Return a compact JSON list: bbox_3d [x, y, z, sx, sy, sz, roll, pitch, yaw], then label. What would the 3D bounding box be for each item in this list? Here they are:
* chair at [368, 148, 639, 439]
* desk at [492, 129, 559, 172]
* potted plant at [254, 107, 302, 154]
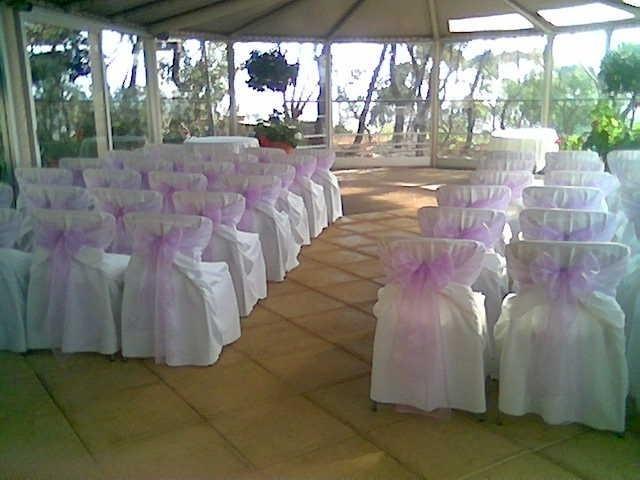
[{"bbox_3d":[1.097,0.412,2.966,1.462,1.231,0.764,6,14,11],"label":"chair"},{"bbox_3d":[3.556,-1.676,8.557,1.052,0.775,1.462,3,3,0],"label":"desk"},{"bbox_3d":[-0.808,-2.105,9.632,0.976,0.667,1.099,6,36,5],"label":"potted plant"}]
